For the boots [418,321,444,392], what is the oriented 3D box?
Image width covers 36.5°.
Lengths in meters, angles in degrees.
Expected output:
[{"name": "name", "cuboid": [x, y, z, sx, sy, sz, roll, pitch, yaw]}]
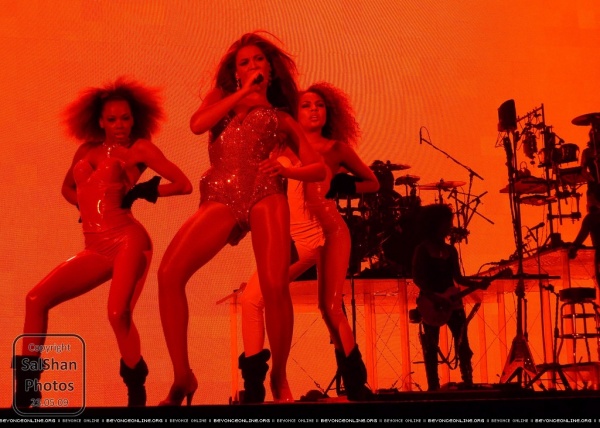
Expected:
[{"name": "boots", "cuboid": [0.987, 1.060, 6.723, 0.164, 0.473, 0.181, -4, -30, 0]}]

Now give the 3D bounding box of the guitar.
[{"name": "guitar", "cuboid": [1.198, 0.637, 6.813, 0.740, 0.339, 0.167, -8, -30, 9]}]

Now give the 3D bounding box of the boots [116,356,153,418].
[{"name": "boots", "cuboid": [-1.171, 1.192, 6.438, 0.204, 0.313, 0.151, 2, -30, -9]}]

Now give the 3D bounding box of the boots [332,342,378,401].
[{"name": "boots", "cuboid": [0.391, 1.146, 6.490, 0.239, 0.383, 0.132, -5, -30, 2]}]

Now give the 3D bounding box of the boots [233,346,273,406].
[{"name": "boots", "cuboid": [-0.315, 1.148, 6.378, 0.392, 0.426, 0.280, 1, -6, 8]}]

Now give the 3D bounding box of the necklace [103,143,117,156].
[{"name": "necklace", "cuboid": [-1.358, -0.457, 6.572, 0.083, 0.074, 0.020, -17, 8, -43]}]

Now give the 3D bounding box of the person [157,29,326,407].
[{"name": "person", "cuboid": [-0.440, -0.092, 6.479, 0.944, 2.246, 1.110, 10, -32, -22]}]
